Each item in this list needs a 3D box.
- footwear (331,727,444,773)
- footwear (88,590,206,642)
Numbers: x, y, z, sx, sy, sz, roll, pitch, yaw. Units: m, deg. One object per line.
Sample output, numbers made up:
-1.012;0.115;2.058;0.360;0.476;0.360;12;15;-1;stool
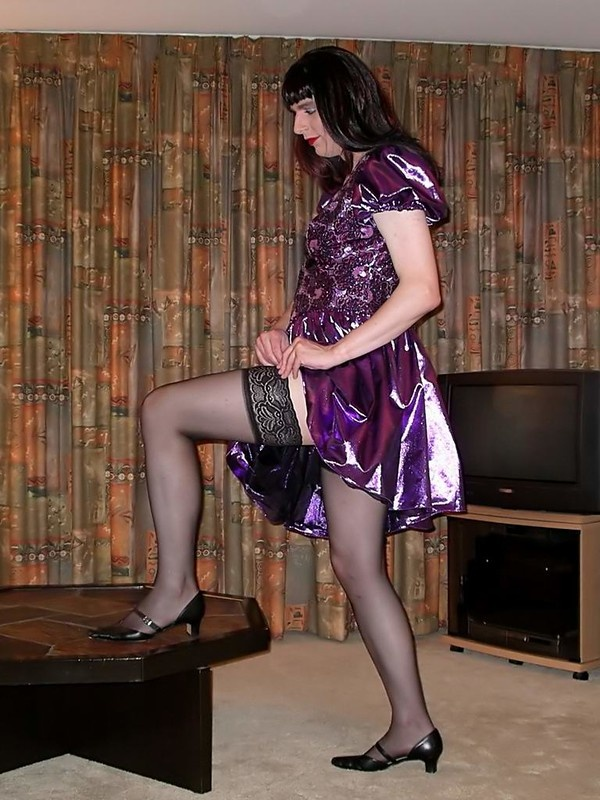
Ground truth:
0.187;0.720;1.712;0.278;0.099;0.086;0;-16;13;footwear
-0.288;0.436;1.654;0.254;0.091;0.086;3;-3;-8;footwear
